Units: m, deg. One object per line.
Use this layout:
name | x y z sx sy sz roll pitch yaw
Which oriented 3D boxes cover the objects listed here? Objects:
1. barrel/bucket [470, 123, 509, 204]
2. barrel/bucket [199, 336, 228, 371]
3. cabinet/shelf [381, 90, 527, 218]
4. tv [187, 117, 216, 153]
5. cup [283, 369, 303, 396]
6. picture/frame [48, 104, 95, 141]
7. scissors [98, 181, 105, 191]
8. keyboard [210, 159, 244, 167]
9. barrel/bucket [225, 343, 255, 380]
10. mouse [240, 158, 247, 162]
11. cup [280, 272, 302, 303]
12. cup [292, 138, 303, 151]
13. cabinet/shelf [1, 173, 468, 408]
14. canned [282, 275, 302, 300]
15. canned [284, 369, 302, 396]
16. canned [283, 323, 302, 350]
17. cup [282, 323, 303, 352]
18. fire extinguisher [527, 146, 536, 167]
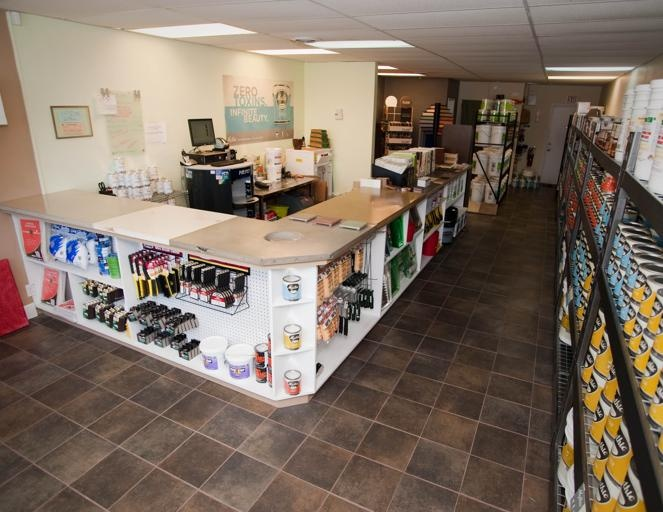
barrel/bucket | 3.003 -1.798 8.606 0.461 1.183 1.386 5 25 19
barrel/bucket | -1.041 0.836 3.990 0.280 0.194 0.265 2 27 -1
cabinet/shelf | 2.284 -1.984 8.466 1.804 2.182 3.168 5 38 9
tv | -1.827 -1.682 6.244 0.078 0.389 0.561 10 22 21
cup | -0.301 1.025 3.742 0.198 0.196 0.186 0 22 0
picture/frame | -2.831 -1.444 4.838 0.017 0.322 0.456 3 17 24
scissors | -2.682 -0.808 5.214 0.079 0.112 0.069 28 39 32
keyboard | -1.410 -1.271 6.109 0.423 0.043 0.774 -4 19 -8
barrel/bucket | -0.791 0.880 3.924 0.275 0.194 0.266 1 26 -1
mouse | -1.294 -1.412 6.596 0.118 0.049 0.156 -5 18 -11
cup | -0.311 0.247 3.611 0.199 0.201 0.189 0 25 0
cup | -0.615 -2.064 8.283 0.188 0.255 0.285 5 30 7
cabinet/shelf | -0.454 -0.210 4.812 2.486 0.729 2.828 12 23 27
canned | -0.313 0.245 3.598 0.184 0.182 0.174 -6 24 -12
canned | -0.317 1.044 3.707 0.122 0.204 0.131 -1 21 2
canned | -0.326 0.633 3.647 0.188 0.186 0.177 -3 22 -7
cup | -0.324 0.645 3.652 0.196 0.194 0.184 0 23 0
fire extinguisher | 5.382 -2.676 12.094 0.210 0.531 0.105 6 22 20
